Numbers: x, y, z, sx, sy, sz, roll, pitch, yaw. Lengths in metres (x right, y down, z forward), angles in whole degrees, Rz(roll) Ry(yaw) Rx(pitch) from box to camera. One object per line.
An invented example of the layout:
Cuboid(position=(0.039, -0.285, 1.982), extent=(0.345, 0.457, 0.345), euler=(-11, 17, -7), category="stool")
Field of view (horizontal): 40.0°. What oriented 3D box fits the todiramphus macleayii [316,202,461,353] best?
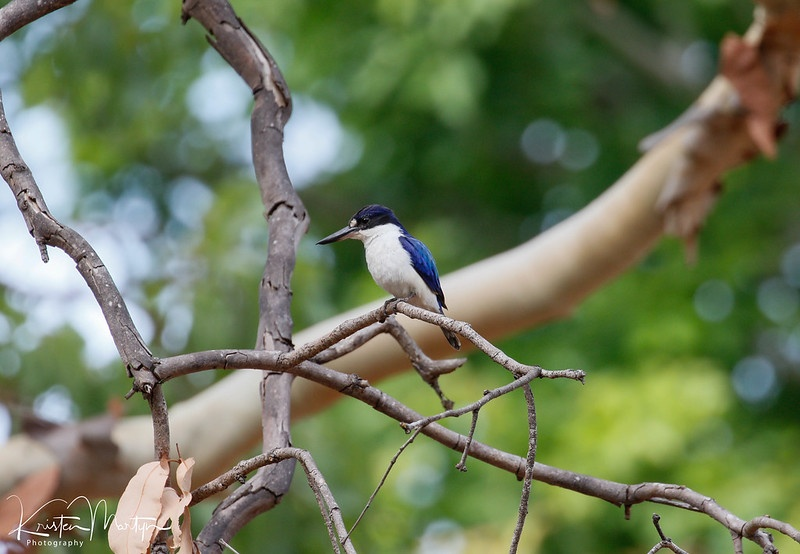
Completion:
Cuboid(position=(-0.033, -0.029, 6.747), extent=(0.824, 0.845, 0.398), euler=(8, -25, -26), category="todiramphus macleayii")
